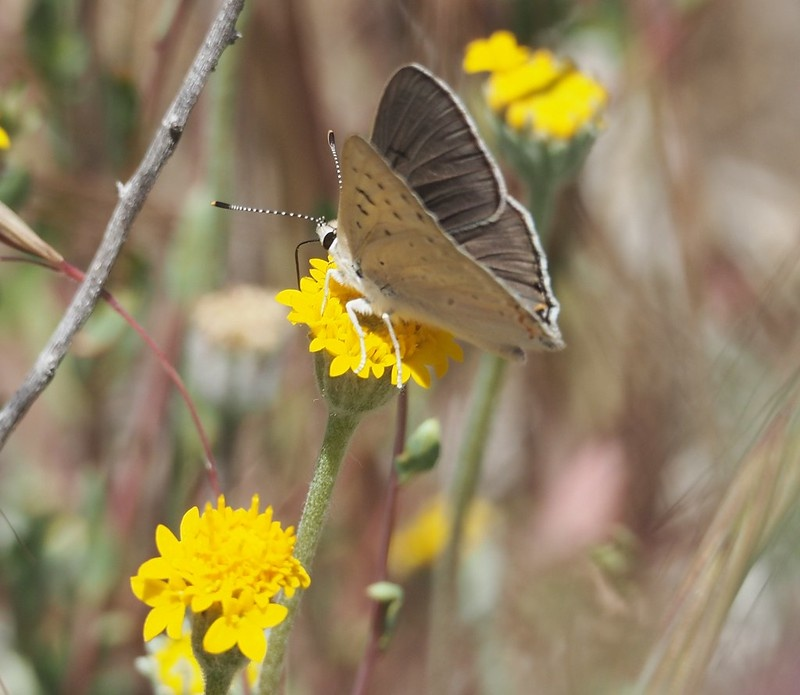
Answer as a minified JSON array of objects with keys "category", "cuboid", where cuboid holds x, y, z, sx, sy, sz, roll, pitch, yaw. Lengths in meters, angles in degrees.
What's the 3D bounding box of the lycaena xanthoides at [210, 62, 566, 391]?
[{"category":"lycaena xanthoides","cuboid":[-0.008,-0.121,1.040,0.304,0.253,0.322,7,15,24]}]
